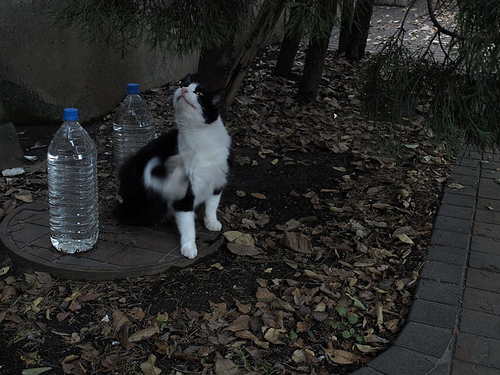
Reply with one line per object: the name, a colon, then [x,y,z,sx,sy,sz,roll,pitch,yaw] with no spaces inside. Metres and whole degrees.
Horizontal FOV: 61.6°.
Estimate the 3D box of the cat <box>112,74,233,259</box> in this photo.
cat: [-0.369,-0.170,3.515,1.140,1.393,1.129,-3,27,-10]
